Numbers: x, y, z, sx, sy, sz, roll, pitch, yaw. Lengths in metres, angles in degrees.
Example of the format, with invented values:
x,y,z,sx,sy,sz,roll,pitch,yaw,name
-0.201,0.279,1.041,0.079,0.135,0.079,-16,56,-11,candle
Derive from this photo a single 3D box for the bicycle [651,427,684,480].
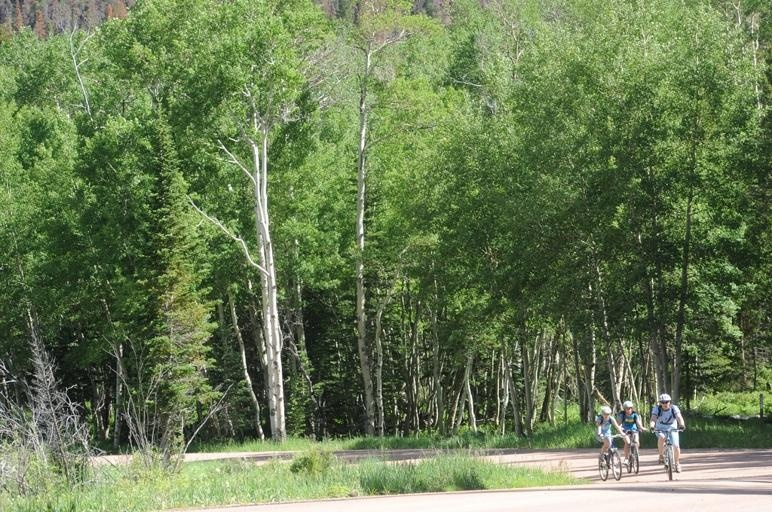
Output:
x,y,z,sx,sy,sz,roll,pitch,yaw,name
12.718,8.828,51.794,0.792,2.236,1.130,-7,-8,15,bicycle

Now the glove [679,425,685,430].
x,y,z,sx,sy,sz,roll,pitch,yaw,name
13.246,7.677,52.109,0.198,0.080,0.207,-1,-3,-15,glove

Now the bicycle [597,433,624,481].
x,y,z,sx,sy,sz,roll,pitch,yaw,name
10.038,9.190,52.138,0.952,1.317,2.080,1,-25,-19,bicycle

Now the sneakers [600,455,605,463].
x,y,z,sx,sy,sz,roll,pitch,yaw,name
9.743,9.079,52.147,0.243,0.251,0.235,5,15,6,sneakers

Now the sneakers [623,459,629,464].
x,y,z,sx,sy,sz,roll,pitch,yaw,name
11.023,9.456,53.302,0.190,0.365,0.186,-1,-2,-11,sneakers
